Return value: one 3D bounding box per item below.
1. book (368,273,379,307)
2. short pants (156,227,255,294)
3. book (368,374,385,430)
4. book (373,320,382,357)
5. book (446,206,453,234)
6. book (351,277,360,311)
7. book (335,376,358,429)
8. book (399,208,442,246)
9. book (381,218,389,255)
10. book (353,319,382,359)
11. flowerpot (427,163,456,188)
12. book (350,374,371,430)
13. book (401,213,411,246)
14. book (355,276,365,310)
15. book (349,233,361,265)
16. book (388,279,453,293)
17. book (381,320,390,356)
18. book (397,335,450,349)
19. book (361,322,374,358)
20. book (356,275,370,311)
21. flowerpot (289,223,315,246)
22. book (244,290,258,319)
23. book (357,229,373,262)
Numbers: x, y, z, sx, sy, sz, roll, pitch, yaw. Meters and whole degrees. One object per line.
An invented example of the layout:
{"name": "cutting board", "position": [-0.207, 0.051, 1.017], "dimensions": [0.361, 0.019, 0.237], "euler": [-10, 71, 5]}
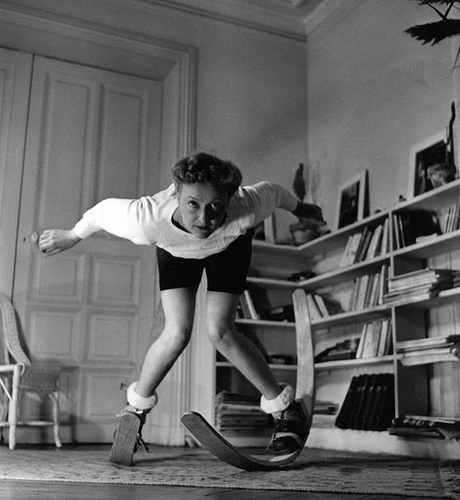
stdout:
{"name": "book", "position": [0.639, 0.186, 2.375], "dimensions": [0.019, 0.100, 0.134], "euler": [12, 16, 12]}
{"name": "short pants", "position": [-0.061, 0.063, 1.400], "dimensions": [0.262, 0.230, 0.147], "euler": [1, -8, -4]}
{"name": "book", "position": [0.646, 0.640, 2.272], "dimensions": [0.059, 0.249, 0.045], "euler": [-10, -52, 40]}
{"name": "book", "position": [0.640, 0.388, 2.318], "dimensions": [0.031, 0.151, 0.049], "euler": [3, -5, 16]}
{"name": "book", "position": [0.844, -0.117, 2.050], "dimensions": [0.018, 0.111, 0.059], "euler": [2, -5, 24]}
{"name": "book", "position": [0.589, 0.211, 2.503], "dimensions": [0.020, 0.142, 0.113], "euler": [13, -20, 15]}
{"name": "book", "position": [0.559, 0.681, 2.469], "dimensions": [0.047, 0.276, 0.067], "euler": [40, -33, -29]}
{"name": "book", "position": [0.775, -0.097, 2.180], "dimensions": [0.154, 0.140, 0.037], "euler": [-10, -11, 26]}
{"name": "book", "position": [0.675, -0.052, 2.326], "dimensions": [0.017, 0.129, 0.099], "euler": [9, -48, 17]}
{"name": "book", "position": [0.622, 0.403, 2.401], "dimensions": [0.056, 0.138, 0.152], "euler": [17, -15, 13]}
{"name": "flowerpot", "position": [0.853, -0.303, 2.175], "dimensions": [0.045, 0.101, 0.146], "euler": [6, -5, -19]}
{"name": "book", "position": [0.591, 0.657, 2.373], "dimensions": [0.065, 0.273, 0.047], "euler": [-1, -47, 35]}
{"name": "book", "position": [0.725, -0.082, 2.204], "dimensions": [0.011, 0.130, 0.054], "euler": [6, -5, -21]}
{"name": "book", "position": [0.599, 0.206, 2.457], "dimensions": [0.019, 0.134, 0.106], "euler": [11, -27, 13]}
{"name": "book", "position": [0.590, 0.002, 2.513], "dimensions": [0.019, 0.129, 0.101], "euler": [21, -39, 16]}
{"name": "book", "position": [0.729, 0.143, 2.075], "dimensions": [0.065, 0.060, 0.278], "euler": [6, -5, -25]}
{"name": "book", "position": [0.661, 0.376, 2.275], "dimensions": [0.023, 0.144, 0.034], "euler": [6, -5, -17]}
{"name": "book", "position": [0.713, 0.339, 1.982], "dimensions": [0.112, 0.025, 0.107], "euler": [-10, -6, 14]}
{"name": "book", "position": [0.614, 0.407, 2.379], "dimensions": [0.038, 0.156, 0.156], "euler": [6, -50, 13]}
{"name": "book", "position": [0.604, 0.198, 2.421], "dimensions": [0.047, 0.157, 0.097], "euler": [5, -5, -11]}
{"name": "flowerpot", "position": [0.402, -0.094, 2.980], "dimensions": [0.125, 0.094, 0.121], "euler": [4, -14, -21]}
{"name": "book", "position": [0.110, 0.294, 2.772], "dimensions": [0.043, 0.174, 0.035], "euler": [-19, -17, -8]}
{"name": "book", "position": [0.621, -0.017, 2.458], "dimensions": [0.021, 0.143, 0.076], "euler": [8, -6, -41]}
